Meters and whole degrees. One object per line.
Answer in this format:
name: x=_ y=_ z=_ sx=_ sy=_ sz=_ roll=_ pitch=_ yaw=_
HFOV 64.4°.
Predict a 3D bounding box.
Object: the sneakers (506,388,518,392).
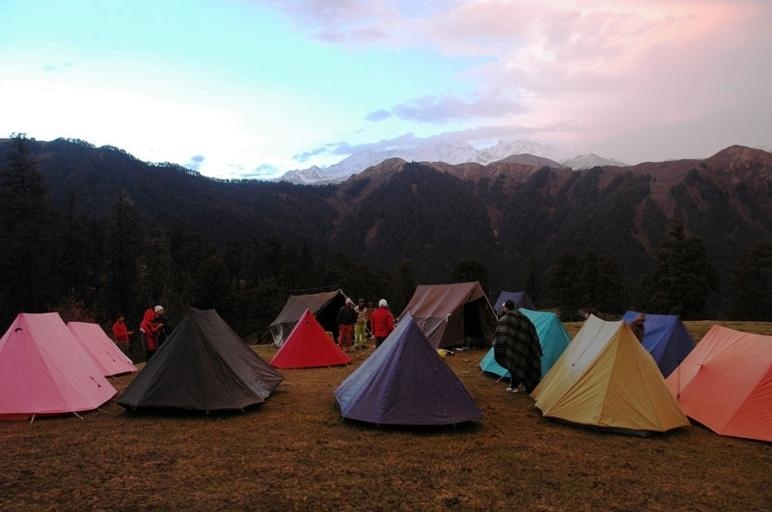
sneakers: x=4.489 y=4.724 z=21.818 sx=0.411 sy=0.190 sz=0.154 roll=4 pitch=-6 yaw=5
